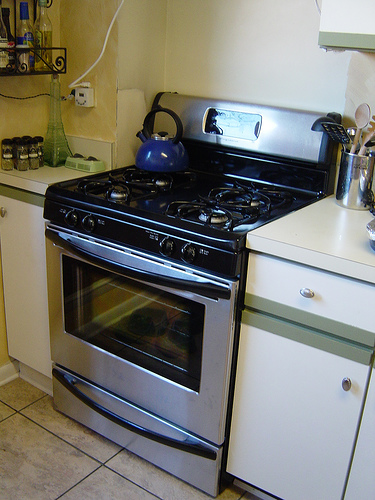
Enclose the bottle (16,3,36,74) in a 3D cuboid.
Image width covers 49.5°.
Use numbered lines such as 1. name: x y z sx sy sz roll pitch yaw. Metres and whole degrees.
1. bottle: -0.571 -0.736 1.425 0.060 0.248 0.200 -3 15 -21
